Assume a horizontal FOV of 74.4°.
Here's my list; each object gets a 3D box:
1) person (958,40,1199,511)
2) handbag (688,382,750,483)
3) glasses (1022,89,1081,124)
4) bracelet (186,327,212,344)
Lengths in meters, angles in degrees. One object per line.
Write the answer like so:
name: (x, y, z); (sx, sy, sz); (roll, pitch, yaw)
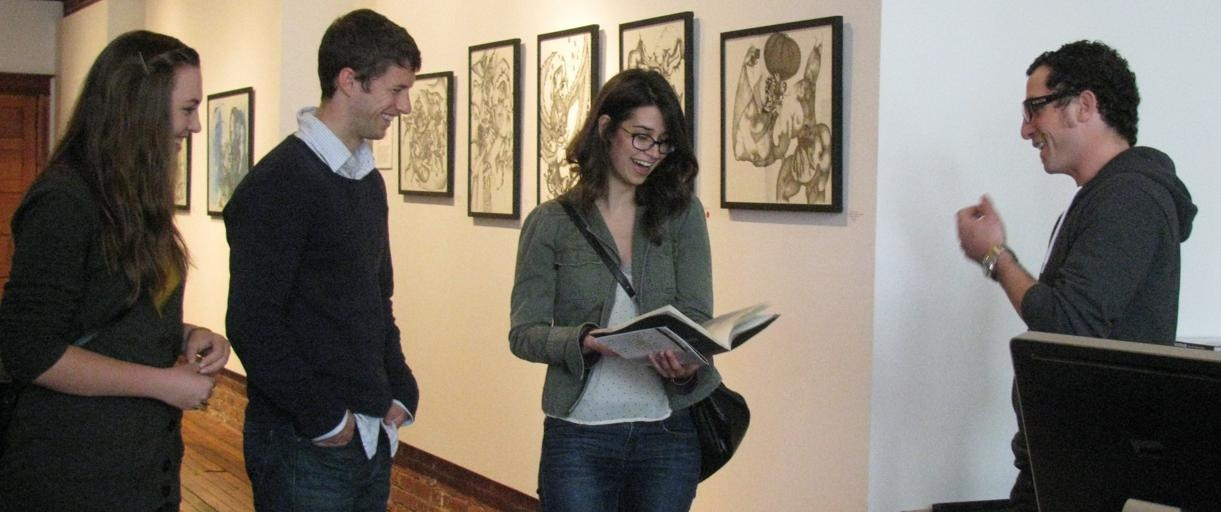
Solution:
person: (2.960, -0.420, 5.011); (1.234, 1.867, 0.574); (5, 5, 20)
handbag: (0.787, 1.080, 5.208); (0.282, 0.523, 0.686); (22, 5, -6)
glasses: (2.810, -0.958, 5.121); (0.258, 0.064, 0.223); (-8, -1, 0)
bracelet: (-2.526, 0.489, 4.940); (0.100, 0.047, 0.058); (-6, -19, 3)
